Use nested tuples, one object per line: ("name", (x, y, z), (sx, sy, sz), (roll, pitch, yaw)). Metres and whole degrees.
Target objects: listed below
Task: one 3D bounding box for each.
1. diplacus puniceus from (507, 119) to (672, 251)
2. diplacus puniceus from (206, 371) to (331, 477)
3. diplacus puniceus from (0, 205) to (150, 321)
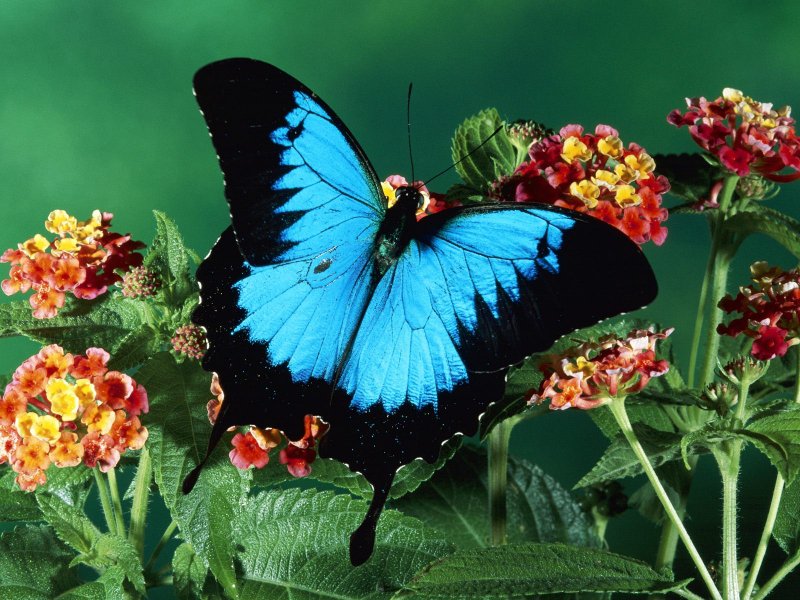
("diplacus puniceus", (0.333, -0.200, 1.765), (0.267, 0.253, 0.148), (0, -34, -11))
("diplacus puniceus", (-0.237, 0.227, 1.722), (0.202, 0.162, 0.104), (9, -36, -24))
("diplacus puniceus", (-0.593, -0.075, 1.792), (0.244, 0.230, 0.078), (-4, -34, -5))
